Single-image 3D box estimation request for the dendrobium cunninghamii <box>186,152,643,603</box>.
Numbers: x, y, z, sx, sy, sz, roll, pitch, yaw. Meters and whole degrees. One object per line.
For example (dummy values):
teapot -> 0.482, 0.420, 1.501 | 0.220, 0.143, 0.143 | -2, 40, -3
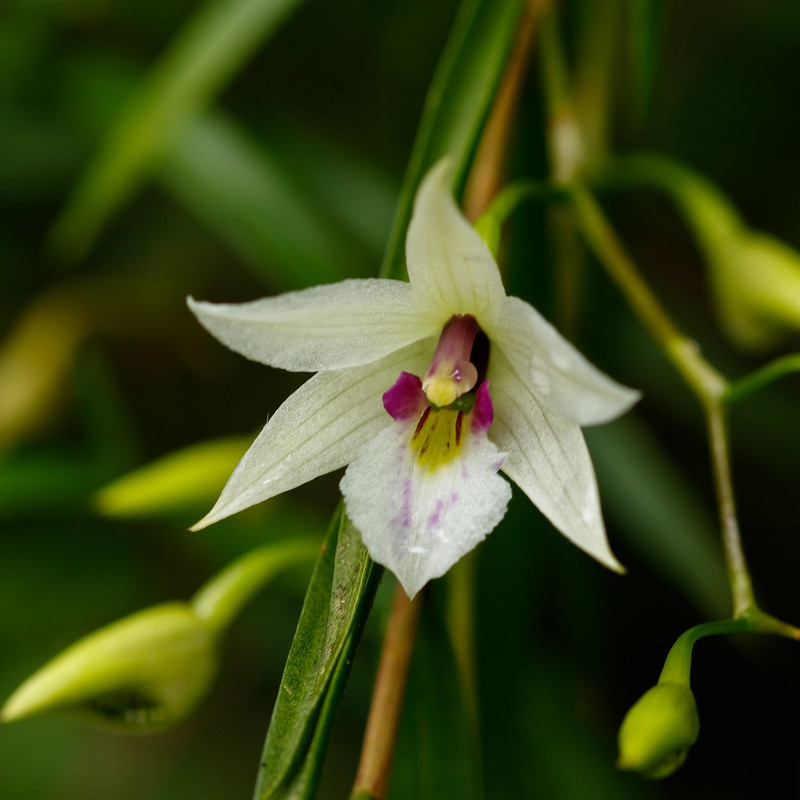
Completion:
dendrobium cunninghamii -> 0.091, -0.083, 1.336 | 0.621, 0.353, 0.539 | 23, -3, -40
